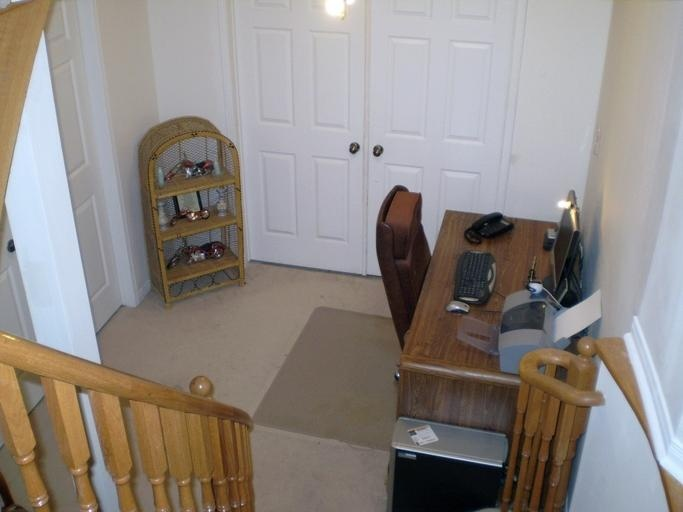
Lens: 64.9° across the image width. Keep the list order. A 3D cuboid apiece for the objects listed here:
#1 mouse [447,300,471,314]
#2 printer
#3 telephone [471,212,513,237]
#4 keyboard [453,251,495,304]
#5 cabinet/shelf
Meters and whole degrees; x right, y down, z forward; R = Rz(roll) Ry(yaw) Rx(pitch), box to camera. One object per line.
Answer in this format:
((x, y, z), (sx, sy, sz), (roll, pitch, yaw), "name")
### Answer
((0.614, 0.258, 2.808), (0.106, 0.042, 0.061), (3, 26, 11), "mouse")
((0.932, 0.299, 2.448), (0.392, 0.291, 0.424), (2, 35, 19), "printer")
((0.999, -0.173, 3.516), (0.232, 0.082, 0.167), (-15, 35, -23), "telephone")
((0.764, 0.119, 3.056), (0.221, 0.060, 0.391), (6, 49, 21), "keyboard")
((-1.240, -0.442, 4.476), (0.711, 1.323, 0.370), (-14, 34, -28), "cabinet/shelf")
